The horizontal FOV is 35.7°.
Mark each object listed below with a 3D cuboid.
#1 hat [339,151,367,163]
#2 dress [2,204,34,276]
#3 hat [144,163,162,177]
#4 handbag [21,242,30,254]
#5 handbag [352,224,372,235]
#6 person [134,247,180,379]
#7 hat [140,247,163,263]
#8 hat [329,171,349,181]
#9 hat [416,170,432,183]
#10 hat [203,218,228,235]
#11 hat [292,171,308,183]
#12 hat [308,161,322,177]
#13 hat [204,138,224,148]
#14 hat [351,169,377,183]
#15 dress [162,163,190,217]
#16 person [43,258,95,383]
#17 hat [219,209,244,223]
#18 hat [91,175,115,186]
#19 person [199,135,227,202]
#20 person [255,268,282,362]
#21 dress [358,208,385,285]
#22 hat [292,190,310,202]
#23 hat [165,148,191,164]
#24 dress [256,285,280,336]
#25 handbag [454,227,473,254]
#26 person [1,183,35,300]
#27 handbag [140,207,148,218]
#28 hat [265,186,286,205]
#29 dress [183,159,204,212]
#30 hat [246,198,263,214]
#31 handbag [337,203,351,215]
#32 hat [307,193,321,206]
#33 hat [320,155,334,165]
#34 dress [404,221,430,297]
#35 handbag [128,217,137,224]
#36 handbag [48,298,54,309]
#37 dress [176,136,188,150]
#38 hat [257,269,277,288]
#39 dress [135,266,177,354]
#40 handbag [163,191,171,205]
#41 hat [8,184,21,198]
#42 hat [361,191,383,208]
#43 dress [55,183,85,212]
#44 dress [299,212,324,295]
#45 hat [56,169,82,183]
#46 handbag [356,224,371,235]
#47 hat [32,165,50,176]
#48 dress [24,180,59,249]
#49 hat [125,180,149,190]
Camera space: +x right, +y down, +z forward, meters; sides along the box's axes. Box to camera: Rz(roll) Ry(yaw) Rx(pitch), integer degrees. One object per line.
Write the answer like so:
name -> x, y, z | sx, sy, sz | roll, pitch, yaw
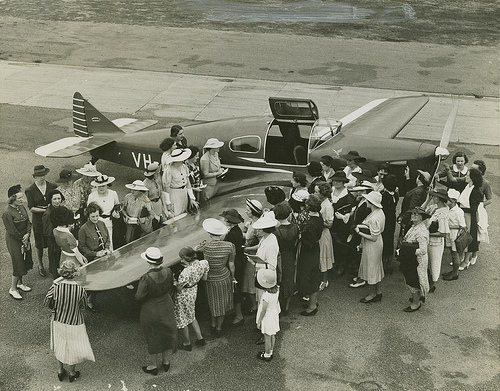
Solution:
hat -> 2.479, -0.956, 18.386 | 0.475, 0.321, 0.697 | 0, 18, 2
dress -> -4.902, 0.926, 16.640 | 0.532, 1.514, 0.429 | -11, 21, -26
hat -> -2.185, -0.619, 17.604 | 0.336, 0.318, 0.455 | -3, 18, -6
handbag -> -4.778, 1.109, 16.661 | 0.150, 0.137, 0.200 | 2, 8, -38
handbag -> 2.393, 0.744, 16.704 | 0.262, 0.074, 0.189 | 24, 5, 20
person -> -1.851, 2.189, 15.535 | 0.858, 2.548, 1.264 | -3, 18, -6
hat -> -1.886, 1.189, 15.059 | 0.347, 0.101, 0.308 | 14, 30, -9
hat -> 1.977, -0.438, 17.171 | 0.406, 0.205, 0.275 | 0, 18, 4
hat -> 3.984, -0.462, 17.764 | 0.246, 0.205, 0.464 | 2, 18, 9
hat -> -0.693, 0.621, 15.815 | 0.466, 0.288, 0.343 | -1, 18, -1
hat -> 1.060, -0.428, 16.874 | 0.226, 0.076, 0.231 | -12, 39, -39
hat -> 1.475, -0.604, 17.492 | 0.346, 0.355, 0.243 | -3, 18, -7
hat -> -0.843, -1.251, 18.323 | 0.372, 0.208, 0.315 | 2, 18, 9
hat -> 2.576, -0.376, 17.682 | 0.401, 0.112, 0.371 | 15, 22, -8
dress -> -1.688, -0.159, 17.956 | 0.293, 1.233, 0.704 | 12, 22, 34
person -> -3.550, 2.391, 15.270 | 0.833, 2.388, 0.872 | -7, 19, -16
hat -> -0.333, 0.411, 16.086 | 0.321, 0.108, 0.280 | 27, 23, 9
hat -> -3.236, -0.339, 17.190 | 0.484, 0.276, 0.290 | -5, 18, -13
person -> -0.916, -0.640, 18.632 | 0.590, 1.558, 0.484 | -2, 19, -4
person -> 0.367, 2.370, 15.534 | 0.457, 1.911, 0.381 | -1, 19, 1
dress -> 2.629, 1.106, 16.829 | 0.575, 1.580, 0.796 | 0, 16, 6
hat -> 1.095, -0.005, 16.697 | 0.352, 0.211, 0.295 | -1, 18, 1
hat -> -1.598, -0.933, 17.762 | 0.404, 0.122, 0.390 | -9, 25, 30
dress -> 0.397, 2.325, 15.486 | 0.338, 0.905, 0.296 | -1, 19, 0
handbag -> 4.777, 0.972, 17.486 | 0.215, 0.443, 0.462 | 10, 60, 48
person -> -4.958, 0.984, 16.682 | 0.522, 2.404, 0.718 | 2, 19, 10
handbag -> -2.333, 0.376, 17.327 | 0.055, 0.191, 0.207 | 12, -1, 45
hat -> 0.522, -0.024, 16.567 | 0.309, 0.150, 0.412 | 38, -13, -31
dress -> -1.246, -0.259, 18.613 | 0.367, 1.177, 0.331 | 6, 22, 26
hat -> 0.111, 0.187, 16.148 | 0.316, 0.312, 0.399 | -1, 18, 1
handbag -> 2.081, 0.305, 17.088 | 0.299, 0.160, 0.079 | -23, 19, -7
hat -> 1.344, 0.074, 16.267 | 0.289, 0.221, 0.231 | 0, 18, 2
hat -> 1.766, -0.819, 17.777 | 0.247, 0.138, 0.187 | 21, -1, -9
dress -> 3.616, 1.352, 16.688 | 0.561, 1.620, 0.678 | 0, 15, 4
handbag -> -2.581, 0.537, 17.225 | 0.188, 0.136, 0.089 | -4, 18, -8
handbag -> -3.814, 2.085, 15.003 | 0.112, 0.142, 0.038 | 3, 7, -6
dress -> -1.622, -1.238, 18.629 | 0.239, 0.270, 0.684 | -2, 18, -3
hat -> 0.330, 1.624, 15.334 | 0.376, 0.366, 0.249 | 2, 19, 10
dress -> -1.813, 2.346, 15.292 | 0.740, 1.920, 0.512 | -4, 19, -7
handbag -> -1.854, 0.074, 17.698 | 0.241, 0.354, 0.225 | -2, 2, -4
hat -> -4.994, -0.121, 16.548 | 0.247, 0.213, 0.375 | -7, 18, -16
hat -> 2.602, 0.082, 16.530 | 0.347, 0.126, 0.328 | 24, 11, -21
dress -> -3.950, 0.053, 17.119 | 0.284, 0.462, 0.520 | 13, 25, 33
dress -> 1.292, 1.223, 16.390 | 0.547, 1.749, 0.381 | -4, 19, -7
hat -> -4.100, -0.452, 17.335 | 0.382, 0.292, 0.432 | -3, 18, -5
handbag -> 2.432, 0.713, 16.635 | 0.214, 0.220, 0.064 | 25, 60, 18
hat -> -4.643, -0.555, 17.222 | 0.260, 0.096, 0.236 | -6, 12, 46
dress -> -4.578, 0.581, 17.430 | 0.840, 1.767, 0.595 | -12, 25, -36
hat -> -2.474, -0.209, 17.260 | 0.465, 0.237, 0.394 | -3, 18, -7
